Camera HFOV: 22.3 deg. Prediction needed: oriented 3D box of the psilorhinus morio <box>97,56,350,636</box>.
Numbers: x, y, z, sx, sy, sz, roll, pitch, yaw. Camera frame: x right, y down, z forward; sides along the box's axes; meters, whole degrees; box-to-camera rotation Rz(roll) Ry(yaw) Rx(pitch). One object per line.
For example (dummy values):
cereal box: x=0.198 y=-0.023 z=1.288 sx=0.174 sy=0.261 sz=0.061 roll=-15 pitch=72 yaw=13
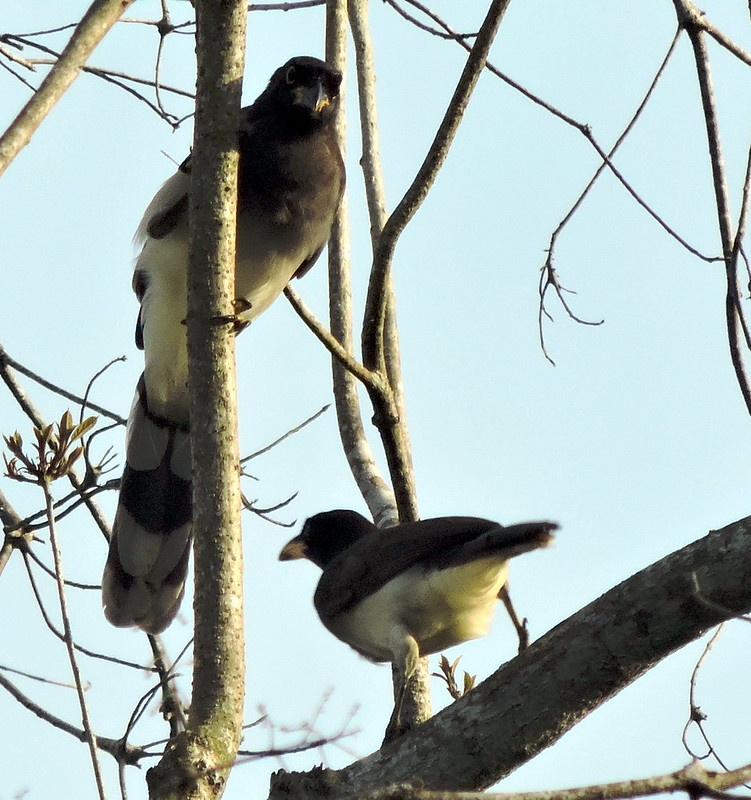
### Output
psilorhinus morio: x=-0.400 y=-0.184 z=5.266 sx=0.351 sy=0.539 sz=1.599 roll=14 pitch=-69 yaw=-25
